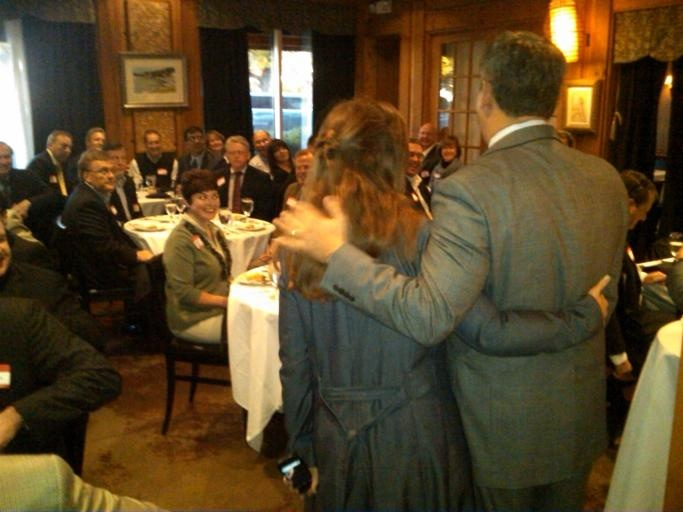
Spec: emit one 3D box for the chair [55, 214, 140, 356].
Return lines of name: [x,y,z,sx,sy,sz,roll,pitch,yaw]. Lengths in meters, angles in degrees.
chair: [-1.824,0.213,4.482,0.437,0.565,0.439,18,19,13]

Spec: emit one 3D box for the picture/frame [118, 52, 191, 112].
picture/frame: [-2.526,-2.340,7.620,0.836,0.670,0.088,-7,14,-29]
